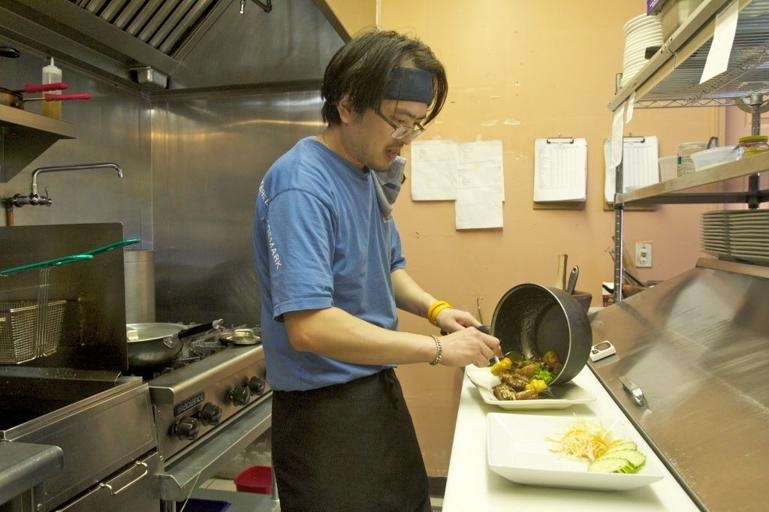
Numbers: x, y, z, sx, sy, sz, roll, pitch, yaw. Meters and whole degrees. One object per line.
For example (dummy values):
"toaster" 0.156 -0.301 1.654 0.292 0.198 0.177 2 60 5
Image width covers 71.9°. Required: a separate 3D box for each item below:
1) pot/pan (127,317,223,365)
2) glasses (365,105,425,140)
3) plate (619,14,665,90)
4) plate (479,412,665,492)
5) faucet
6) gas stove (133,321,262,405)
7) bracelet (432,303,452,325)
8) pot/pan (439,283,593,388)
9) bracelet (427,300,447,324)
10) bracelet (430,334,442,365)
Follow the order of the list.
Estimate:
"pot/pan" -0.846 0.330 2.085 0.401 0.137 0.256 -2 14 -2
"glasses" 0.027 -0.379 1.571 0.030 0.099 0.098 -46 -11 15
"plate" 1.029 -0.843 2.205 0.239 0.243 0.235 0 4 11
"plate" 0.493 0.528 1.446 0.427 0.137 0.253 -2 5 7
"faucet" -1.410 -0.342 2.430 0.362 0.200 0.352 -5 5 -30
"gas stove" -0.690 0.457 2.104 0.352 0.149 0.511 0 4 5
"bracelet" 0.194 0.205 1.898 0.029 0.070 0.070 24 -33 11
"pot/pan" 0.576 0.256 1.889 0.262 0.415 0.152 2 -5 42
"bracelet" 0.187 0.195 1.911 0.039 0.076 0.073 16 15 12
"bracelet" 0.157 0.290 1.578 0.025 0.067 0.062 -3 -8 5
